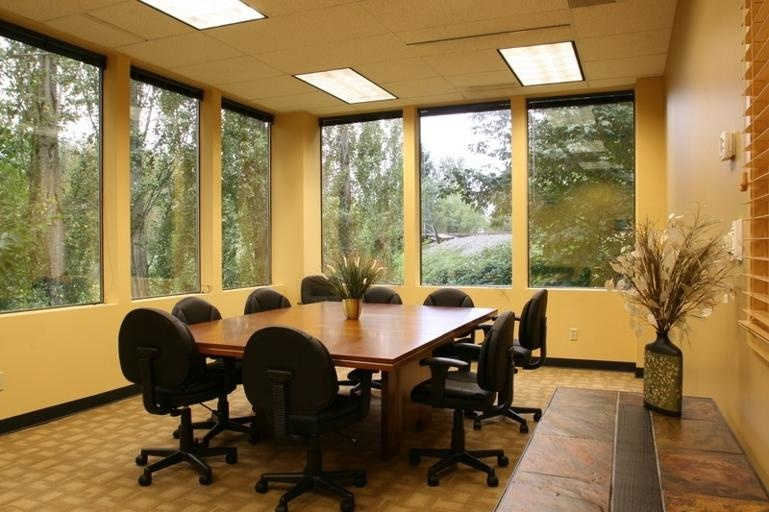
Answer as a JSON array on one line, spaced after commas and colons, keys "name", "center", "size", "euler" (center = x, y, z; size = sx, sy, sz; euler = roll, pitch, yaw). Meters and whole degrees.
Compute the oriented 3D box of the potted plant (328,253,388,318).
[{"name": "potted plant", "center": [-0.296, 0.307, 5.597], "size": [0.625, 0.733, 0.633], "euler": [1, -4, -2]}]
